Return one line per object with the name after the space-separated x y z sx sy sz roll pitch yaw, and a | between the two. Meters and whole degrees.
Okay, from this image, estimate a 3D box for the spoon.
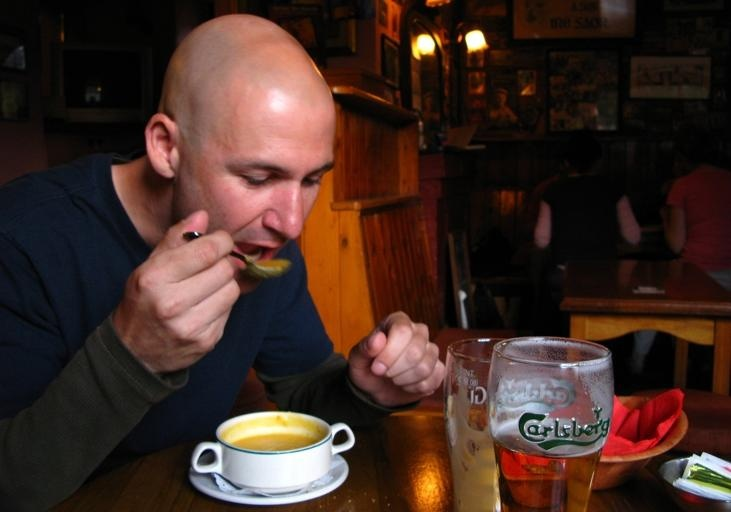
-0.286 0.020 1.484 0.152 0.057 0.114 25 -24 24 | spoon

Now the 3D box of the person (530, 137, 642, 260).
1.855 -0.463 4.890 0.830 1.216 0.693 -1 29 18 | person
